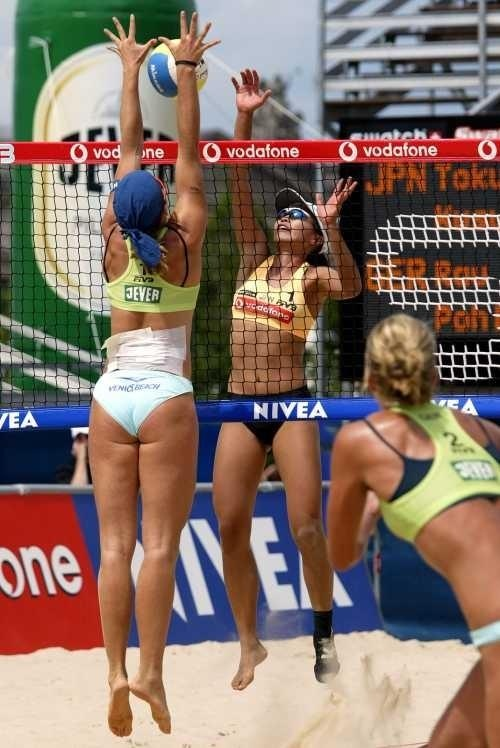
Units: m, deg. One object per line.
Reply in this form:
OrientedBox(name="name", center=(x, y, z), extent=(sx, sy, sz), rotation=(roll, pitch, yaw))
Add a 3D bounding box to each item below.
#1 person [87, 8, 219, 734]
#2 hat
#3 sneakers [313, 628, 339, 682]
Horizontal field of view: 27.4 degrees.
OrientedBox(name="person", center=(-0.384, -0.025, 3.714), extent=(0.386, 2.618, 0.624), rotation=(1, 5, 26))
OrientedBox(name="hat", center=(0.249, -0.758, 4.936), extent=(0.111, 0.376, 0.220), rotation=(-36, 19, -30))
OrientedBox(name="sneakers", center=(0.336, 1.293, 4.648), extent=(0.097, 0.246, 0.095), rotation=(-3, -2, 3))
